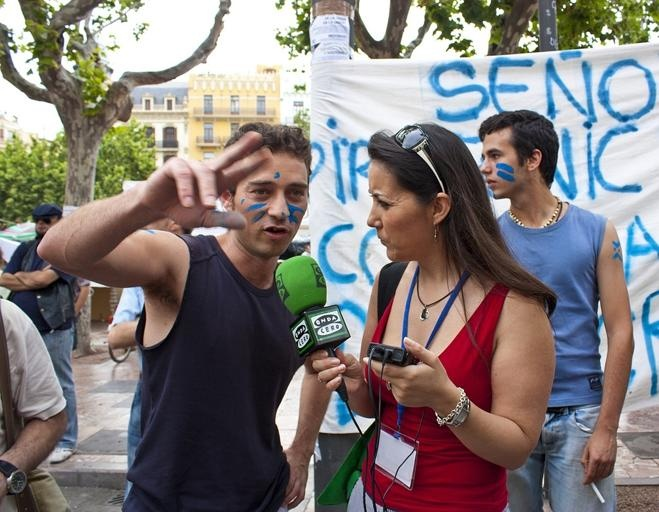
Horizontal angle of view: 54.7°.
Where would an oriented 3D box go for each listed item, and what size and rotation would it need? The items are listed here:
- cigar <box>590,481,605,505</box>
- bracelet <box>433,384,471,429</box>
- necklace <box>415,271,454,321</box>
[{"bbox_3d":[1.476,1.303,3.492,0.085,0.121,0.026,-1,1,-3],"label":"cigar"},{"bbox_3d":[0.530,0.651,2.761,0.172,0.158,0.171,2,8,11],"label":"bracelet"},{"bbox_3d":[0.489,0.200,3.038,0.134,0.218,0.160,7,8,29],"label":"necklace"}]
